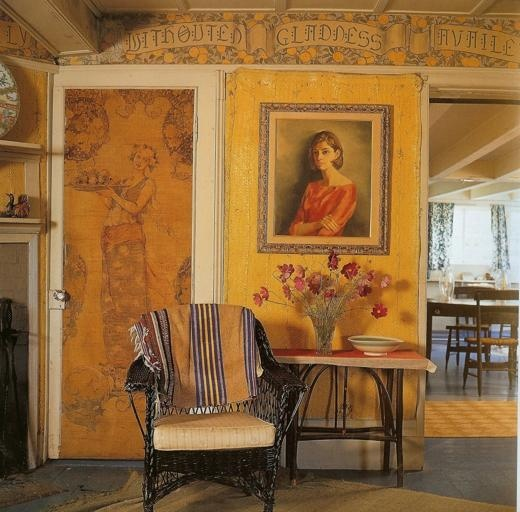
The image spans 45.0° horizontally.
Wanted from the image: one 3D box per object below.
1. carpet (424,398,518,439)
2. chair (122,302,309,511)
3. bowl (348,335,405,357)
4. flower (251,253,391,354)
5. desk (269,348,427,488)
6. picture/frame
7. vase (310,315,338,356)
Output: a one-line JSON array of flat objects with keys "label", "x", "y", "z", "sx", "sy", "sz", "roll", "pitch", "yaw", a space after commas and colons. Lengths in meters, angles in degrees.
[{"label": "carpet", "x": 1.755, "y": 1.332, "z": 5.173, "sx": 0.764, "sy": 0.064, "sz": 1.241, "roll": 2, "pitch": 5, "yaw": 15}, {"label": "chair", "x": -0.282, "y": 0.799, "z": 3.805, "sx": 1.202, "sy": 1.340, "sz": 1.095, "roll": 2, "pitch": -9, "yaw": -9}, {"label": "bowl", "x": 0.715, "y": 0.564, "z": 3.987, "sx": 0.307, "sy": 0.104, "sz": 0.333, "roll": 1, "pitch": 4, "yaw": 0}, {"label": "flower", "x": 0.397, "y": 0.248, "z": 4.069, "sx": 0.724, "sy": 0.437, "sz": 0.718, "roll": 0, "pitch": -2, "yaw": 10}, {"label": "desk", "x": 0.581, "y": 0.929, "z": 4.107, "sx": 1.020, "sy": 0.718, "sz": 0.832, "roll": 0, "pitch": -9, "yaw": 0}, {"label": "picture/frame", "x": 0.437, "y": -0.510, "z": 4.221, "sx": 1.067, "sy": 1.145, "sz": 0.060, "roll": 1, "pitch": 1, "yaw": 1}, {"label": "vase", "x": 0.393, "y": 0.493, "z": 3.908, "sx": 0.150, "sy": 0.222, "sz": 0.111, "roll": 1, "pitch": 5, "yaw": 4}]
